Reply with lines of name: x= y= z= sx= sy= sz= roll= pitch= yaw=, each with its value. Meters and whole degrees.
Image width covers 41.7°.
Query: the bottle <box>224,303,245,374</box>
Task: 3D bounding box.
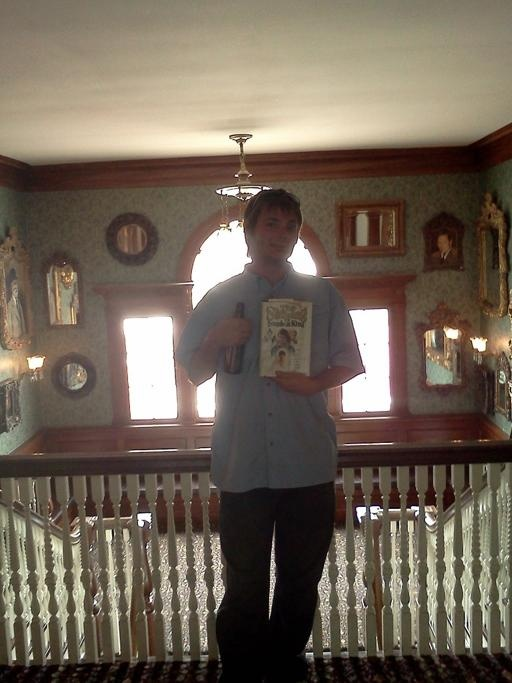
bottle: x=-0.065 y=-0.012 z=2.344 sx=0.064 sy=0.246 sz=0.119 roll=-1 pitch=-1 yaw=-25

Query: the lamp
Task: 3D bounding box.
lamp: x=-0.197 y=-1.690 z=7.189 sx=0.610 sy=1.043 sz=0.587 roll=-11 pitch=23 yaw=-42

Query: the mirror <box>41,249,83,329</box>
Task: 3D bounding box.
mirror: x=-2.555 y=-0.690 z=8.841 sx=0.455 sy=0.966 sz=0.206 roll=-1 pitch=-1 yaw=-11

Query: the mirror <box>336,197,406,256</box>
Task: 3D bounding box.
mirror: x=1.484 y=-1.475 z=8.755 sx=0.870 sy=0.692 sz=0.055 roll=-1 pitch=-2 yaw=3

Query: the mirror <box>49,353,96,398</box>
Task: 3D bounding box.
mirror: x=-2.443 y=0.454 z=8.982 sx=0.560 sy=0.594 sz=0.162 roll=-1 pitch=-1 yaw=-13
